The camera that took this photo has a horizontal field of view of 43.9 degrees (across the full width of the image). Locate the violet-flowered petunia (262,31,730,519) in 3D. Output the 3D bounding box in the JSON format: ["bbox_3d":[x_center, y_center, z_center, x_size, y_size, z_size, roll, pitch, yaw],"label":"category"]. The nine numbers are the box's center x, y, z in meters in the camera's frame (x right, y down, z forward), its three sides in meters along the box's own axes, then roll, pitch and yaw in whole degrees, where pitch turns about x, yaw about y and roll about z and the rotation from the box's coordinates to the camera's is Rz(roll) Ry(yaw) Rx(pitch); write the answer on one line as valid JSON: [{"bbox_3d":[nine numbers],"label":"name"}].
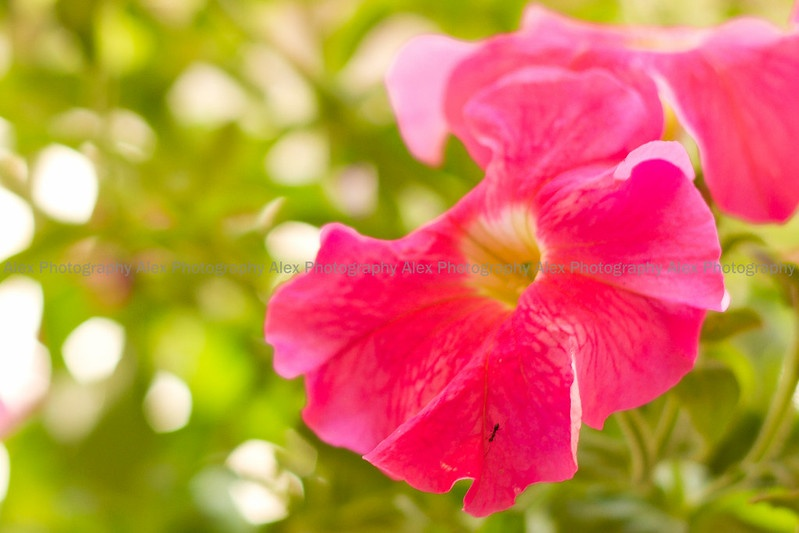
[{"bbox_3d":[0.055,-0.002,0.686,0.313,0.264,0.219,-13,32,17],"label":"violet-flowered petunia"}]
